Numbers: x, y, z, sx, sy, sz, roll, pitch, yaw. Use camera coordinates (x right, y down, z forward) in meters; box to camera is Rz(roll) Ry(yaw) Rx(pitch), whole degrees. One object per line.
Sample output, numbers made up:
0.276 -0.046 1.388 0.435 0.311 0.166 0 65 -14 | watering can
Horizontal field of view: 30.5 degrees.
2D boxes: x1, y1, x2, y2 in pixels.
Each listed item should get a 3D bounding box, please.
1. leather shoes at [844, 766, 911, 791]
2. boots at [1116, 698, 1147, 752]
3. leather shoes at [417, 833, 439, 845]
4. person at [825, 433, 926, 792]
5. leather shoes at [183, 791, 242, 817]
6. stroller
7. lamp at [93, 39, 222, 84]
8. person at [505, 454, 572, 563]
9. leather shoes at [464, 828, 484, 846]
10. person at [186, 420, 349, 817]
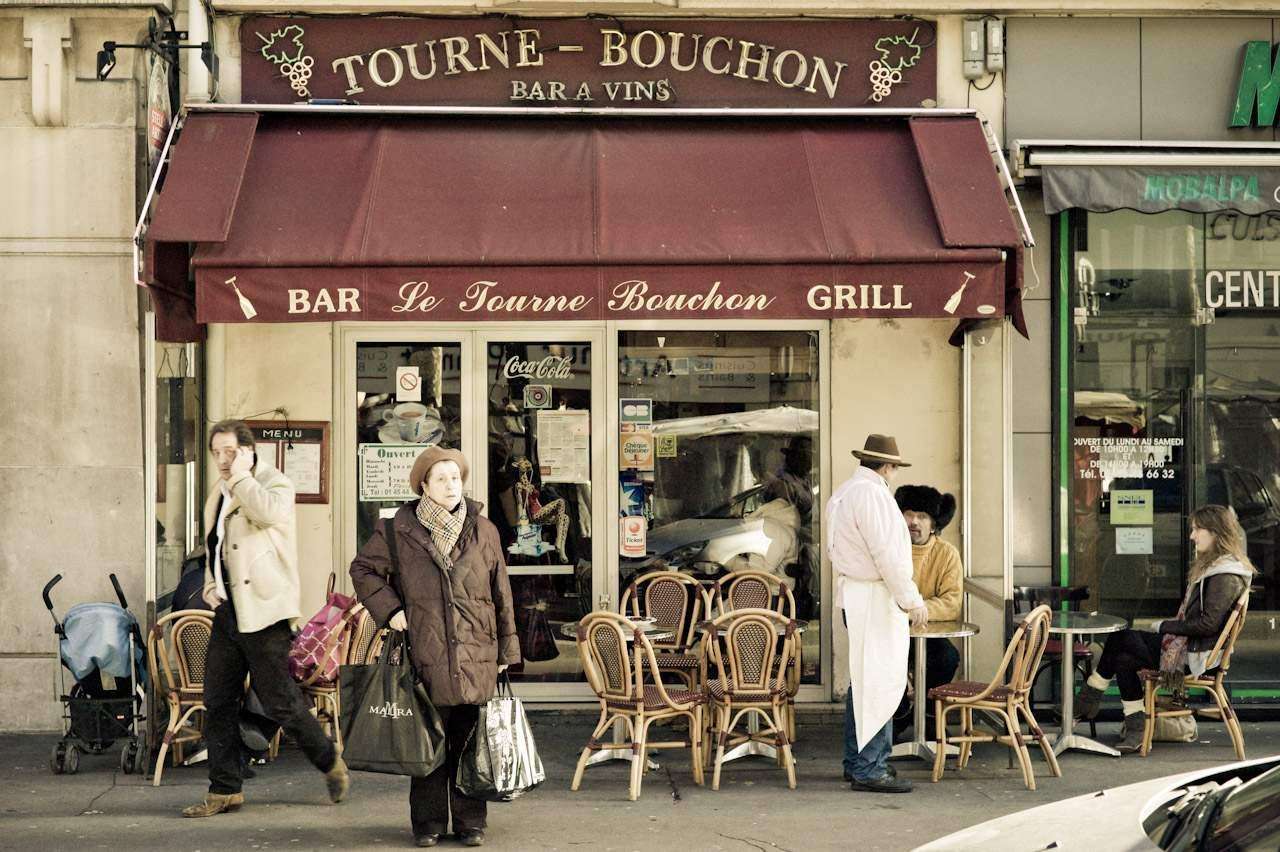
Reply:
1.979 2.895 19.357 0.494 0.191 0.178 -1 1 3 | leather shoes
4.224 2.563 20.195 0.386 0.456 0.165 5 -6 -4 | boots
-1.644 3.214 18.297 0.190 0.085 0.078 -2 -1 -22 | leather shoes
1.959 1.535 19.419 0.804 2.735 0.429 -3 -1 12 | person
-3.434 3.020 18.830 0.501 0.215 0.175 3 0 -12 | leather shoes
-4.618 2.091 20.048 0.919 1.383 0.876 -3 -1 -6 | stroller
-4.285 -3.261 20.918 1.067 0.317 0.474 -2 -1 -13 | lamp
-0.927 0.784 21.595 0.535 0.982 0.571 -1 30 1 | person
-1.299 3.204 18.318 0.175 0.109 0.118 -2 -1 -17 | leather shoes
-2.986 1.512 19.176 1.416 3.071 1.150 1 -2 -32 | person
